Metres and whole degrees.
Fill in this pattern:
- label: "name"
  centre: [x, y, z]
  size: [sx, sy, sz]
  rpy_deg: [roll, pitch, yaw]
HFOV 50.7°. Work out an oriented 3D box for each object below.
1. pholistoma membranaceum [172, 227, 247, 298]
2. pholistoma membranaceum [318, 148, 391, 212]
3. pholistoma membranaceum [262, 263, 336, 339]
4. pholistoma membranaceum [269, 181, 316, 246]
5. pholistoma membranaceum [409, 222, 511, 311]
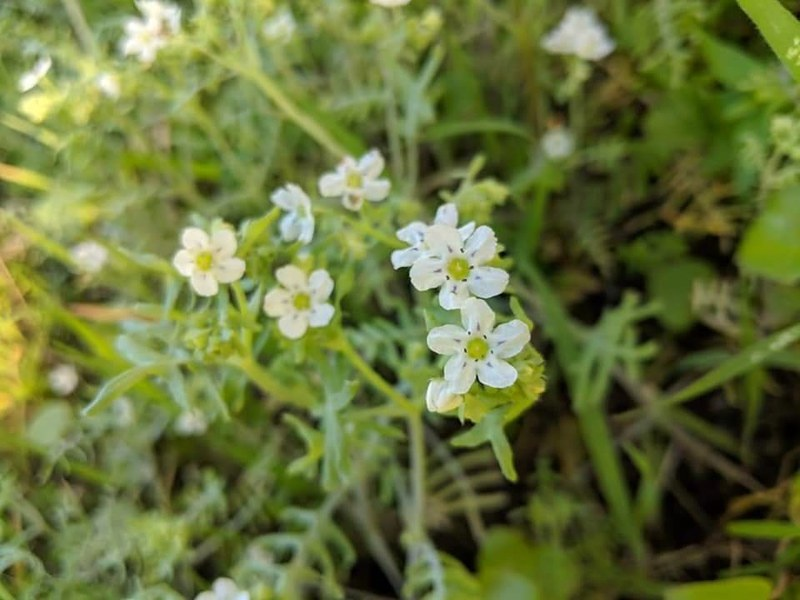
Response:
- label: "pholistoma membranaceum"
  centre: [-0.334, -0.073, 1.466]
  size: [0.114, 0.046, 0.112]
  rpy_deg: [-28, 74, -1]
- label: "pholistoma membranaceum"
  centre: [-0.082, -0.247, 1.588]
  size: [0.108, 0.092, 0.050]
  rpy_deg: [8, 88, 13]
- label: "pholistoma membranaceum"
  centre: [-0.178, 0.001, 1.520]
  size: [0.128, 0.092, 0.116]
  rpy_deg: [-20, 73, 2]
- label: "pholistoma membranaceum"
  centre: [-0.189, -0.162, 1.539]
  size: [0.039, 0.104, 0.100]
  rpy_deg: [-22, 51, -39]
- label: "pholistoma membranaceum"
  centre: [0.095, -0.058, 1.459]
  size: [0.157, 0.067, 0.143]
  rpy_deg: [-21, 74, 1]
